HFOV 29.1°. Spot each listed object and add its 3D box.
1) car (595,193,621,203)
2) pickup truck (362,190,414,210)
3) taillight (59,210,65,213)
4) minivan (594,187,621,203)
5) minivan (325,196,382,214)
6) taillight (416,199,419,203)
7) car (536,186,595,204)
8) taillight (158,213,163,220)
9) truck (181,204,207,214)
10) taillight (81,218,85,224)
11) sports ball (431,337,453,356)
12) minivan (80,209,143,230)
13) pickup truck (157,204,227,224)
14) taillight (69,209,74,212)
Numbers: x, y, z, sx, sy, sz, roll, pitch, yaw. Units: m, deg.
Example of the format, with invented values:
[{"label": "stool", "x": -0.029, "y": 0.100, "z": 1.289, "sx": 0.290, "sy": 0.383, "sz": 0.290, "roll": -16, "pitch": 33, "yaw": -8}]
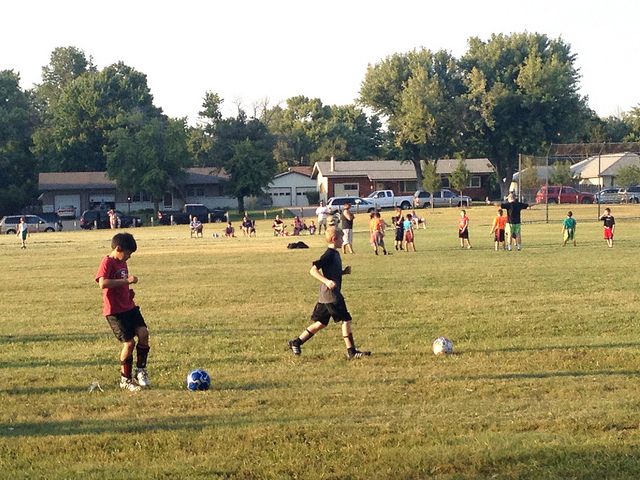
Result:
[{"label": "car", "x": 20.679, "y": -2.931, "z": 88.559, "sx": 1.605, "sy": 0.796, "sz": 1.144, "roll": 2, "pitch": 3, "yaw": 21}, {"label": "pickup truck", "x": 5.100, "y": -2.903, "z": 91.514, "sx": 3.662, "sy": 1.555, "sz": 1.734, "roll": 1, "pitch": 2, "yaw": -11}, {"label": "taillight", "x": -20.176, "y": -2.204, "z": 97.535, "sx": 0.393, "sy": 0.200, "sz": 0.162, "roll": -3, "pitch": 3, "yaw": -17}, {"label": "minivan", "x": 20.816, "y": -3.126, "z": 89.362, "sx": 2.443, "sy": 1.373, "sz": 1.588, "roll": 5, "pitch": 4, "yaw": 14}, {"label": "minivan", "x": 2.427, "y": -2.033, "z": 88.648, "sx": 3.739, "sy": 1.564, "sz": 1.792, "roll": -4, "pitch": 5, "yaw": -14}, {"label": "taillight", "x": 7.301, "y": -2.797, "z": 91.718, "sx": 0.196, "sy": 0.225, "sz": 0.386, "roll": -1, "pitch": -6, "yaw": 2}, {"label": "car", "x": 18.424, "y": -3.257, "z": 91.416, "sx": 3.538, "sy": 1.305, "sz": 2.307, "roll": -4, "pitch": 4, "yaw": -27}, {"label": "taillight", "x": -11.346, "y": -1.632, "z": 88.898, "sx": 0.298, "sy": 0.532, "sz": 0.137, "roll": -1, "pitch": -4, "yaw": 5}, {"label": "truck", "x": -8.970, "y": -2.196, "z": 90.049, "sx": 1.275, "sy": 0.808, "sz": 1.004, "roll": -2, "pitch": 6, "yaw": -3}, {"label": "taillight", "x": -16.558, "y": -1.288, "z": 87.257, "sx": 0.173, "sy": 0.399, "sz": 0.180, "roll": -2, "pitch": 3, "yaw": -7}, {"label": "sports ball", "x": 4.279, "y": 3.704, "z": 42.913, "sx": 0.534, "sy": 0.610, "sz": 0.572, "roll": -5, "pitch": 3, "yaw": 0}, {"label": "minivan", "x": -14.877, "y": -1.406, "z": 88.010, "sx": 3.511, "sy": 1.583, "sz": 1.794, "roll": -3, "pitch": 6, "yaw": -12}, {"label": "pickup truck", "x": -9.220, "y": -1.805, "z": 89.763, "sx": 4.687, "sy": 1.308, "sz": 2.651, "roll": -2, "pitch": 3, "yaw": 6}, {"label": "taillight", "x": -19.514, "y": -2.234, "z": 97.935, "sx": 0.090, "sy": 0.167, "sz": 0.421, "roll": 1, "pitch": 5, "yaw": 41}]
